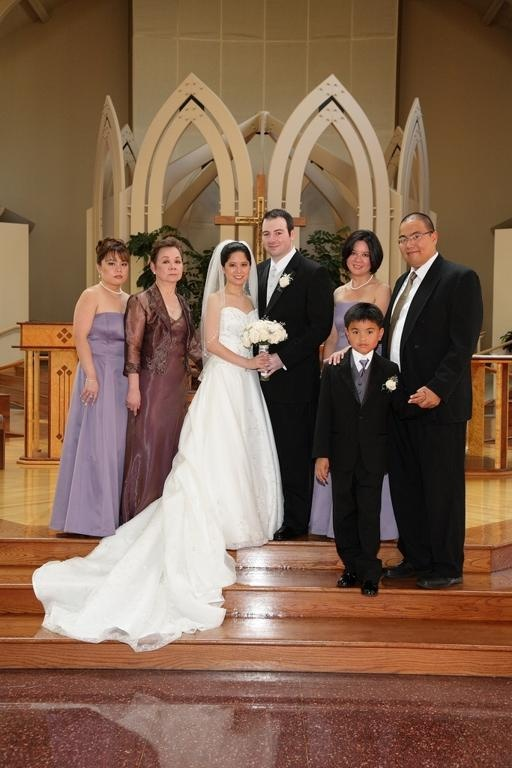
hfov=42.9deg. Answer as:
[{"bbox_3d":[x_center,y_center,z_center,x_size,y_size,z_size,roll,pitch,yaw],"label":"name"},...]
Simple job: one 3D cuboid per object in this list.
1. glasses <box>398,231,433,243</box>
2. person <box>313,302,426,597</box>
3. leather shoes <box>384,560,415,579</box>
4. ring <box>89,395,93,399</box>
[{"bbox_3d":[0.685,-0.635,2.827,0.140,0.057,0.084,3,8,20],"label":"glasses"},{"bbox_3d":[0.417,0.262,2.789,0.349,1.205,0.347,3,8,14],"label":"person"},{"bbox_3d":[0.642,0.840,2.934,0.139,0.058,0.058,5,-8,-23],"label":"leather shoes"},{"bbox_3d":[-0.799,0.066,3.150,0.013,0.018,0.007,6,9,5],"label":"ring"}]
